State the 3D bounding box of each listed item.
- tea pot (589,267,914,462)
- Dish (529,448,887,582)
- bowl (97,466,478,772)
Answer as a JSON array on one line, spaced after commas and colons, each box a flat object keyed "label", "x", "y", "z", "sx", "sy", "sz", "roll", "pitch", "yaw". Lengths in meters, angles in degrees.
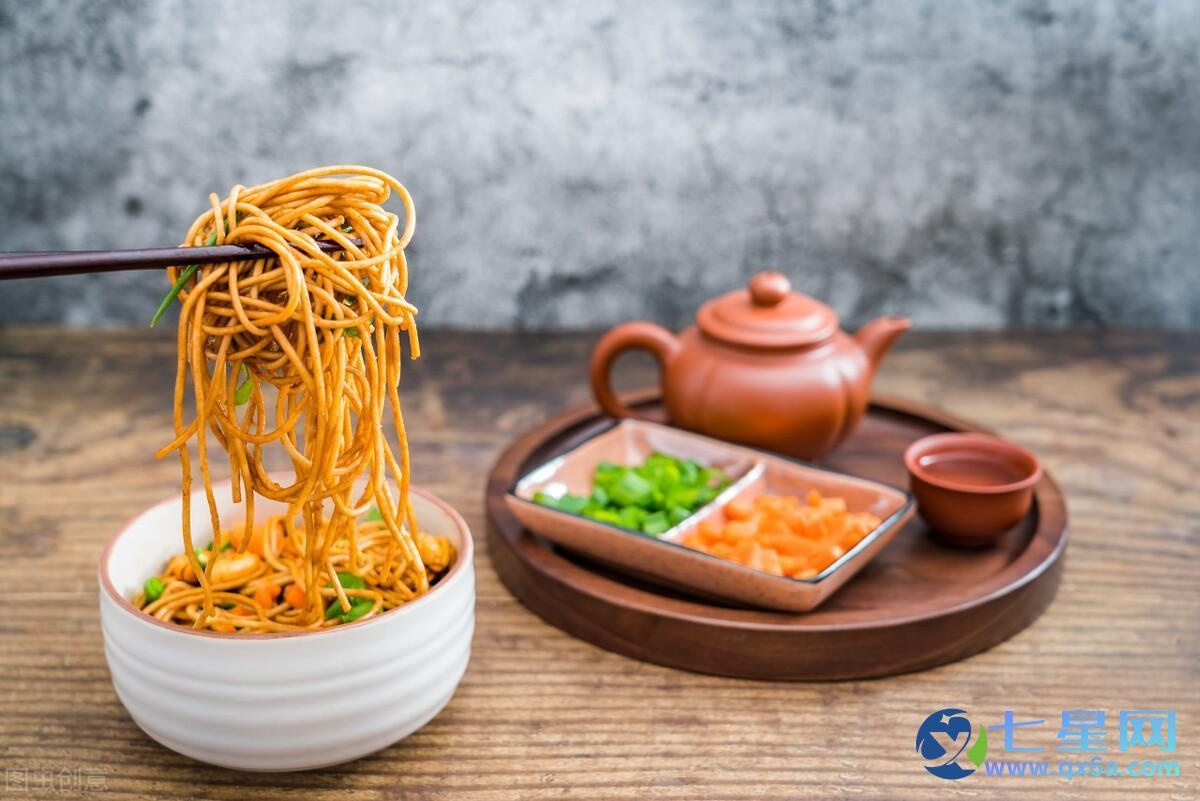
[{"label": "tea pot", "x": 0.281, "y": -0.059, "z": 2.151, "sx": 0.601, "sy": 0.380, "sz": 0.368, "roll": -3, "pitch": 30, "yaw": -4}, {"label": "Dish", "x": 0.192, "y": 0.194, "z": 1.871, "sx": 0.406, "sy": 0.052, "sz": 0.246, "roll": 6, "pitch": 20, "yaw": 33}, {"label": "bowl", "x": -0.453, "y": 0.326, "z": 1.596, "sx": 0.527, "sy": 0.220, "sz": 0.367, "roll": -2, "pitch": 44, "yaw": 3}]
